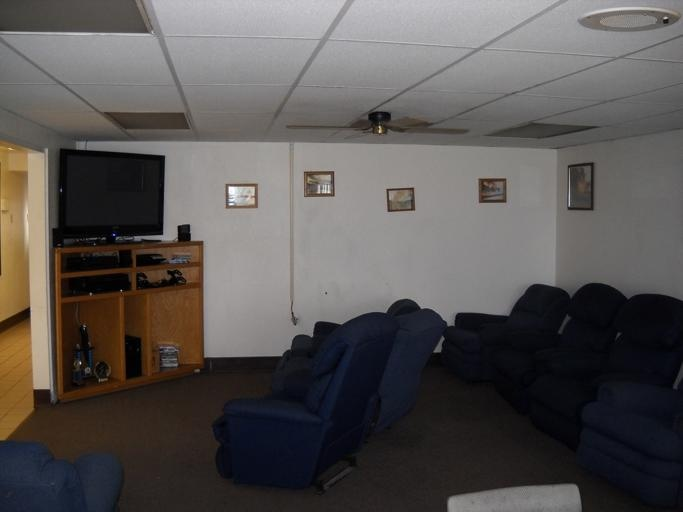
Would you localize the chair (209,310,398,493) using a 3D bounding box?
[{"bbox_3d":[-0.212,1.080,4.124,1.286,1.373,1.421,3,0,21],"label":"chair"}]

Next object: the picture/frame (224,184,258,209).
[{"bbox_3d":[-1.256,-0.737,6.246,0.307,0.257,0.025,0,3,-5],"label":"picture/frame"}]

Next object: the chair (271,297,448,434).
[{"bbox_3d":[0.015,0.907,4.672,1.131,1.316,1.457,-3,12,-39],"label":"chair"}]

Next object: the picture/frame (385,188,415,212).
[{"bbox_3d":[0.715,-0.719,6.469,0.303,0.256,0.021,0,8,-7],"label":"picture/frame"}]

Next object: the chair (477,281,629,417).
[{"bbox_3d":[2.290,0.887,5.456,1.269,1.391,1.156,5,-1,-13],"label":"chair"}]

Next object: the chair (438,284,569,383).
[{"bbox_3d":[1.912,0.867,5.964,1.230,0.988,1.072,2,-2,-14],"label":"chair"}]

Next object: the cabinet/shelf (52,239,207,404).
[{"bbox_3d":[-2.420,0.739,5.697,0.485,1.526,1.638,2,4,43],"label":"cabinet/shelf"}]

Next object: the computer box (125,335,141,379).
[{"bbox_3d":[-2.349,1.149,5.769,0.166,0.436,0.189,-2,8,-16],"label":"computer box"}]

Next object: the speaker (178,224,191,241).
[{"bbox_3d":[-1.867,-0.270,6.047,0.180,0.172,0.105,0,8,-18],"label":"speaker"}]

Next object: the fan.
[{"bbox_3d":[0.405,-1.275,5.270,1.365,0.191,1.592,7,11,42],"label":"fan"}]

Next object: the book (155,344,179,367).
[{"bbox_3d":[-2.049,1.184,6.075,0.302,0.298,0.220,0,1,-3],"label":"book"}]

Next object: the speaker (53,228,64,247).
[{"bbox_3d":[-2.909,-0.186,5.206,0.112,0.191,0.071,-1,8,-10],"label":"speaker"}]

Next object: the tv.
[{"bbox_3d":[-2.546,-0.659,5.588,1.057,0.886,0.107,-5,12,-41],"label":"tv"}]
